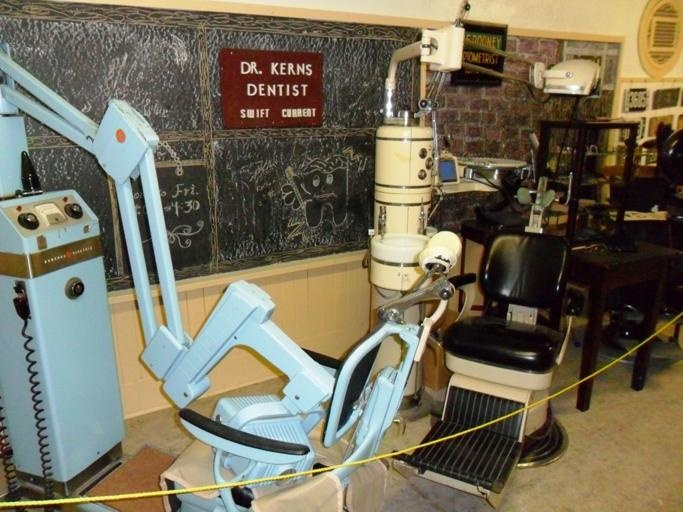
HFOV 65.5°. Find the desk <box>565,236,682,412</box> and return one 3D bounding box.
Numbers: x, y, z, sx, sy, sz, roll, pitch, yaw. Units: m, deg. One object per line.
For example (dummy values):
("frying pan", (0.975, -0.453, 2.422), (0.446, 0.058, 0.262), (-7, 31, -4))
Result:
("desk", (1.891, 0.443, 3.736), (0.850, 1.043, 0.410), (-8, 18, -26))

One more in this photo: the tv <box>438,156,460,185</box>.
("tv", (0.745, -0.621, 3.854), (0.237, 0.222, 0.060), (-6, 5, -36))

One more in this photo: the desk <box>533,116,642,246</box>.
("desk", (1.911, -0.578, 4.178), (0.765, 1.402, 0.602), (-14, 22, -37))

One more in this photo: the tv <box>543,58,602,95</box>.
("tv", (1.588, -1.260, 3.626), (0.300, 0.214, 0.371), (19, 39, 29))
